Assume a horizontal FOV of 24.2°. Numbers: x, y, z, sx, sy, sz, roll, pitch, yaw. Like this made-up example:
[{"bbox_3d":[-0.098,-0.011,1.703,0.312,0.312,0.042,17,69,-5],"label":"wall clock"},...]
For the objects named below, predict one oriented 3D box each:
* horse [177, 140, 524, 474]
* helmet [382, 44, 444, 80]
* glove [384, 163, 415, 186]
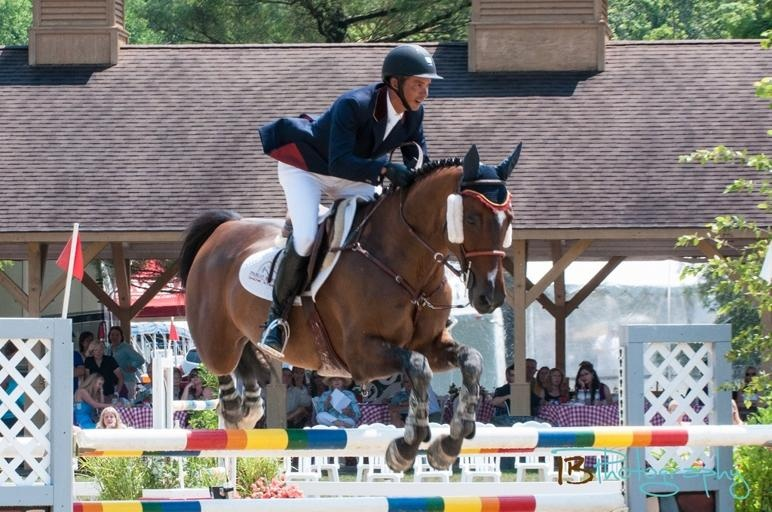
[{"bbox_3d":[-0.934,0.798,27.590,2.045,4.615,7.272,-2,2,-43],"label":"horse"},{"bbox_3d":[0.353,-2.866,26.223,0.720,0.330,0.510,0,1,20],"label":"helmet"},{"bbox_3d":[0.146,-1.221,26.120,0.396,0.131,0.285,23,-30,35],"label":"glove"}]
